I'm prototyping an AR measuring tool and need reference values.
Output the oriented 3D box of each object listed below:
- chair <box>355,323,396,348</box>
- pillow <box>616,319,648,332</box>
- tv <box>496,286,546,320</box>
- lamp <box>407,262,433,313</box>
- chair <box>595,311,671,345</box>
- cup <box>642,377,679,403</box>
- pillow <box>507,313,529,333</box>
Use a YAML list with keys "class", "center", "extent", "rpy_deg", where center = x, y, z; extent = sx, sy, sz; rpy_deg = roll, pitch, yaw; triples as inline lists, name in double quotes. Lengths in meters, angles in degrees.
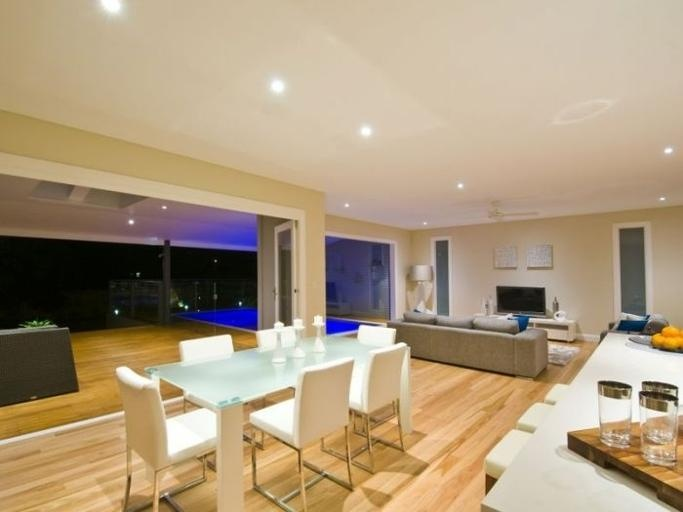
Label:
- class: "chair"
  center: [0.307, 0.822, 4.555]
  extent: [0.241, 0.337, 0.279]
  rpy_deg: [-6, -18, 33]
- class: "pillow"
  center: [3.684, 0.890, 5.603]
  extent: [0.280, 0.122, 0.275]
  rpy_deg: [-2, 2, -42]
- class: "tv"
  center: [3.592, 0.940, 8.765]
  extent: [0.596, 0.437, 0.179]
  rpy_deg: [2, 4, 34]
- class: "lamp"
  center: [1.827, 0.758, 10.485]
  extent: [0.622, 1.103, 0.593]
  rpy_deg: [4, 8, 30]
- class: "chair"
  center: [3.540, 0.855, 5.340]
  extent: [0.641, 0.559, 0.405]
  rpy_deg: [-7, -45, 39]
- class: "cup"
  center: [1.648, 0.692, 2.292]
  extent: [0.117, 0.071, 0.164]
  rpy_deg: [1, -7, 0]
- class: "pillow"
  center: [2.619, 1.009, 6.565]
  extent: [0.380, 0.377, 0.207]
  rpy_deg: [1, 3, 8]
